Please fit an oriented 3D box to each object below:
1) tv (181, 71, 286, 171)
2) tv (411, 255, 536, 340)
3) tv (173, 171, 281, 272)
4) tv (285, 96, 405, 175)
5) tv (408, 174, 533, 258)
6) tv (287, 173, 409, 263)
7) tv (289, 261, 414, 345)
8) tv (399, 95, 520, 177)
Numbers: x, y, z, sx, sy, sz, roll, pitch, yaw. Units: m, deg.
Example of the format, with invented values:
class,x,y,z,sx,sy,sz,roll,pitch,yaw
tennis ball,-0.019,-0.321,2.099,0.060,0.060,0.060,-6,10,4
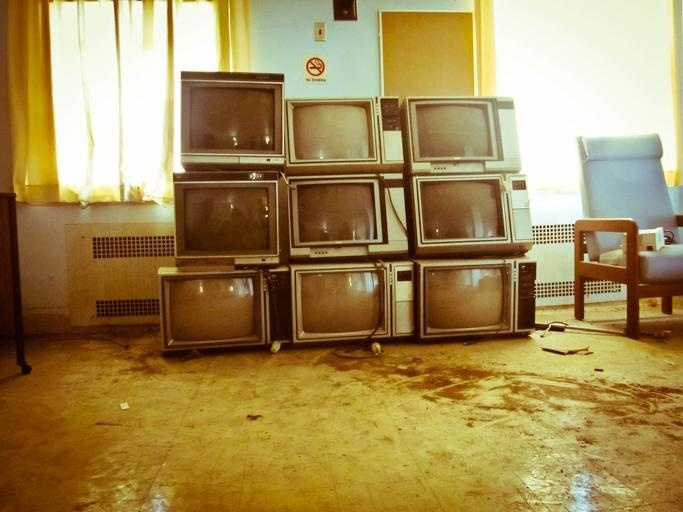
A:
class,x,y,z,sx,sy,sz,roll,pitch,yaw
tv,-0.721,-0.864,3.445,0.667,0.537,0.369,-7,17,-28
tv,0.806,0.267,3.638,0.818,0.501,0.533,-2,4,-11
tv,-0.618,-0.204,3.422,0.725,0.590,0.407,0,2,19
tv,-0.006,-0.786,3.625,0.704,0.439,0.416,-2,2,-4
tv,0.773,-0.258,3.664,0.830,0.503,0.470,-3,-2,-13
tv,0.098,-0.237,3.579,0.809,0.513,0.503,-1,1,24
tv,0.022,0.291,3.555,0.772,0.473,0.502,-2,0,-13
tv,0.736,-0.764,3.693,0.783,0.495,0.415,-4,-4,-15
